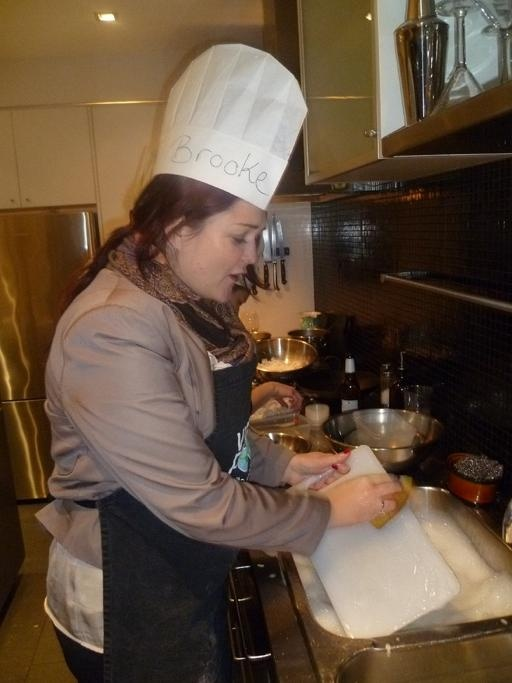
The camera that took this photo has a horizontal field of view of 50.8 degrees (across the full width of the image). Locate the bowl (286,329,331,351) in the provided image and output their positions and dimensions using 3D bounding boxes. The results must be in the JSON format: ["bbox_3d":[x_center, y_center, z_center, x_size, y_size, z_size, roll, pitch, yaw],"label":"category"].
[{"bbox_3d":[0.261,-0.012,2.577,0.137,0.095,0.107,-1,6,-9],"label":"bowl"}]

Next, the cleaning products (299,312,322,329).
[{"bbox_3d":[0.285,-0.102,2.682,0.086,0.067,0.091,0,-1,-4],"label":"cleaning products"}]

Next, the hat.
[{"bbox_3d":[-0.043,-0.332,1.008,0.306,0.227,0.299,18,9,0],"label":"hat"}]
